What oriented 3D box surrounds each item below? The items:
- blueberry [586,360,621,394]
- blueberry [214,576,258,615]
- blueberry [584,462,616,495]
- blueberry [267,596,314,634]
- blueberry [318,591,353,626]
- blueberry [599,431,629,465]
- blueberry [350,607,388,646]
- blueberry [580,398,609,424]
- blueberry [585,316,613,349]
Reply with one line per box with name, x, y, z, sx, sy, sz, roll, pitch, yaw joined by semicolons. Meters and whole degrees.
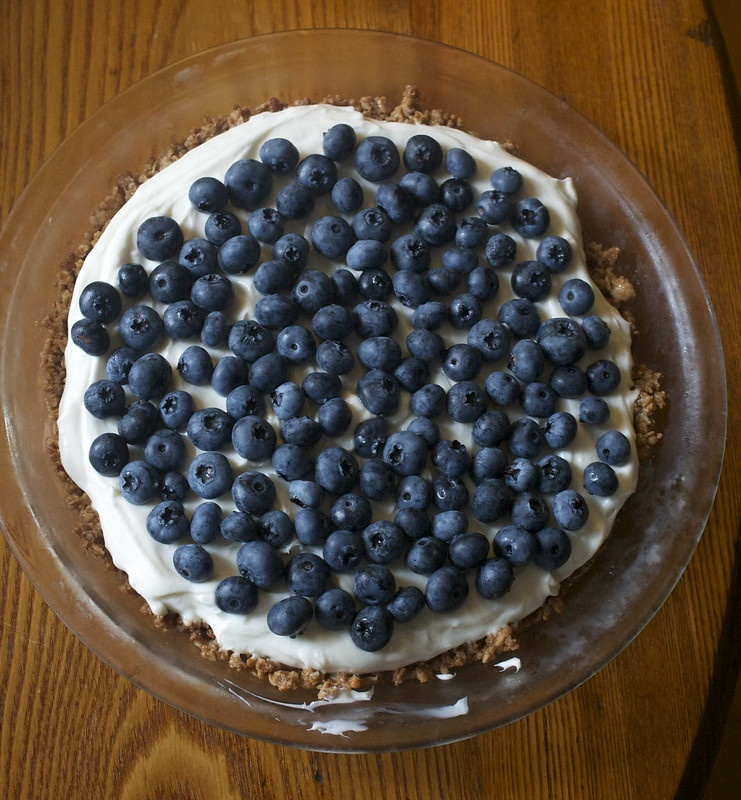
blueberry;0.630;-0.062;2.587;0.102;0.047;0.084;-1;87;1
blueberry;-0.336;0.489;2.397;0.103;0.085;0.096;1;83;2
blueberry;0.607;0.205;2.526;0.084;0.050;0.081;-6;86;7
blueberry;-0.207;0.533;2.416;0.102;0.100;0.071;-31;89;-17
blueberry;-0.087;0.518;2.425;0.101;0.047;0.082;-1;92;-2
blueberry;0.649;0.126;2.550;0.088;0.051;0.088;29;90;9
blueberry;0.003;0.570;2.384;0.101;0.071;0.115;3;83;2
blueberry;0.598;0.030;2.567;0.076;0.040;0.068;0;75;3
blueberry;0.611;-0.185;2.608;0.080;0.049;0.080;-17;87;-1
